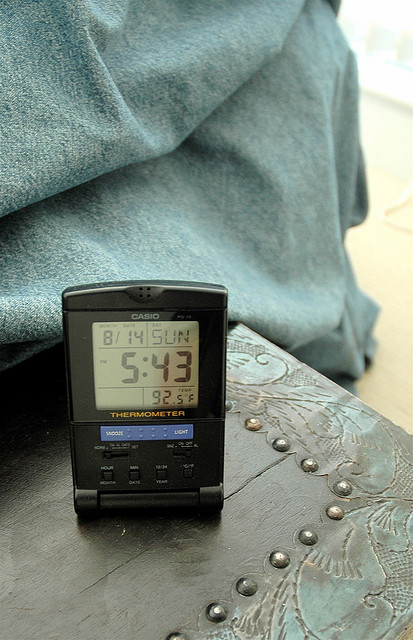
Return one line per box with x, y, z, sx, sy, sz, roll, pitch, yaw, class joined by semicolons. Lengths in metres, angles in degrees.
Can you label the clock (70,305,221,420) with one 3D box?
-0.045;0.026;0.391;0.087;0.068;0.009;0;14;-6;clock
